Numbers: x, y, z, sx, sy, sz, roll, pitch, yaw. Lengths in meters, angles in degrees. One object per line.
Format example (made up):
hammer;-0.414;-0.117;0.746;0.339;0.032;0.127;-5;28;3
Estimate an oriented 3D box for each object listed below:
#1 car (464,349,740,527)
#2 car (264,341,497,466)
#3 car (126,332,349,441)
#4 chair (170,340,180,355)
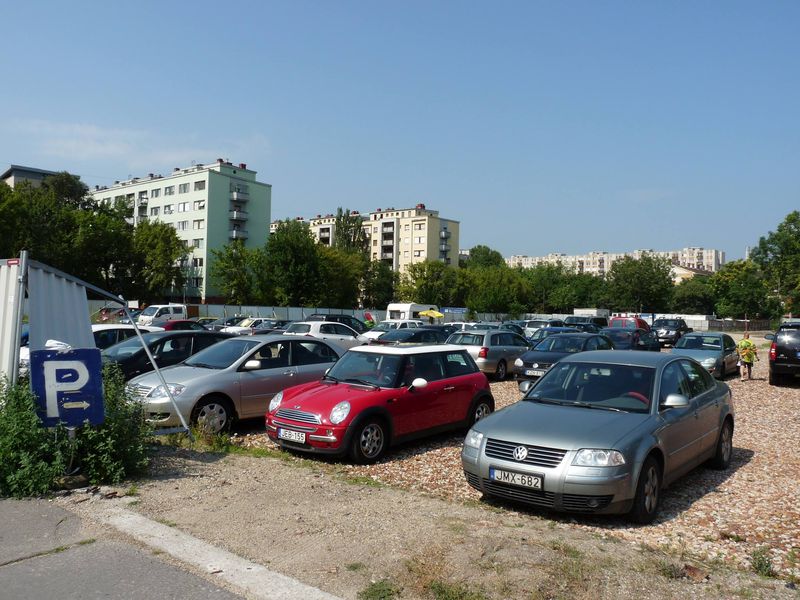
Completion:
car;2.646;1.607;8.396;3.477;1.702;1.876;-3;7;-41
car;-0.317;1.593;10.504;2.975;1.185;1.851;1;-4;-44
car;-2.992;1.451;11.570;1.469;1.120;3.319;-4;-4;43
chair;-4.520;0.928;13.110;0.174;0.220;0.184;6;-13;-35
